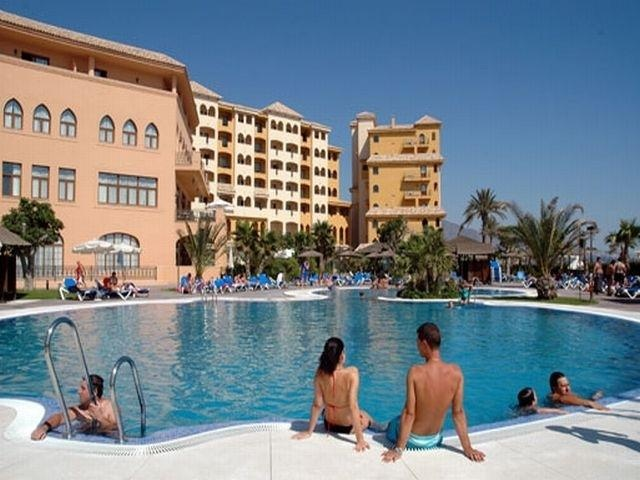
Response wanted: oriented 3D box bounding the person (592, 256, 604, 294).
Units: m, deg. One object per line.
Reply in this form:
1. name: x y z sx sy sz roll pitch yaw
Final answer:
1. person: 13.539 1.753 27.901 0.361 1.745 2.409 0 -4 27

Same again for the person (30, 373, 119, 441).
1. person: -3.632 2.643 8.758 1.204 1.126 0.772 -6 2 -25

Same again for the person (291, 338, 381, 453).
1. person: 0.388 2.303 8.778 1.066 1.429 1.776 0 -9 16

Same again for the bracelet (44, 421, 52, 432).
1. bracelet: -3.917 2.697 8.316 0.091 0.136 0.120 -12 27 -23

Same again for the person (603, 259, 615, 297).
1. person: 14.112 1.842 27.955 0.392 1.662 2.211 0 -4 26

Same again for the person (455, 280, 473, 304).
1. person: 6.135 2.268 24.524 0.655 1.370 0.713 -1 5 -1

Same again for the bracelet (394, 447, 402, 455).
1. bracelet: 1.057 2.842 7.744 0.091 0.107 0.064 8 2 23

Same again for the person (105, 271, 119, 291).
1. person: -9.961 1.982 27.479 0.741 1.230 0.690 -6 -7 42

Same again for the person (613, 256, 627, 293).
1. person: 14.734 1.765 28.142 0.619 1.543 3.948 0 -4 28
